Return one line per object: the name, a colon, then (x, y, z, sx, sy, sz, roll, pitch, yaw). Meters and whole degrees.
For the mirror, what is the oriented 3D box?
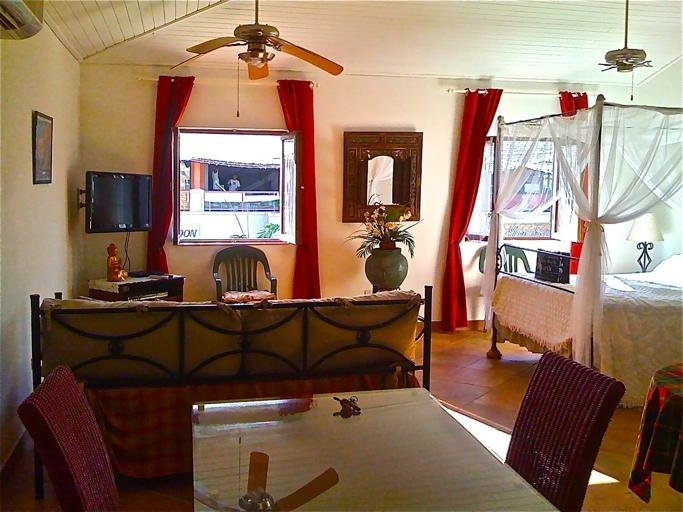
mirror: (0.443, -0.962, 6.356, 1.116, 1.264, 0.180, -1, 5, -14)

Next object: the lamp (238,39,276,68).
lamp: (-0.554, -1.285, 3.476, 0.172, 0.117, 0.173, 2, 4, 31)

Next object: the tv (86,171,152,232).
tv: (-2.218, -0.529, 5.286, 0.058, 0.463, 0.634, 7, 7, 24)

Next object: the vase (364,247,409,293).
vase: (0.492, 0.154, 5.767, 0.450, 0.435, 0.428, -1, 1, -17)

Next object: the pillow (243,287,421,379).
pillow: (-0.096, 0.506, 3.391, 0.704, 0.238, 0.703, -1, 0, 17)
